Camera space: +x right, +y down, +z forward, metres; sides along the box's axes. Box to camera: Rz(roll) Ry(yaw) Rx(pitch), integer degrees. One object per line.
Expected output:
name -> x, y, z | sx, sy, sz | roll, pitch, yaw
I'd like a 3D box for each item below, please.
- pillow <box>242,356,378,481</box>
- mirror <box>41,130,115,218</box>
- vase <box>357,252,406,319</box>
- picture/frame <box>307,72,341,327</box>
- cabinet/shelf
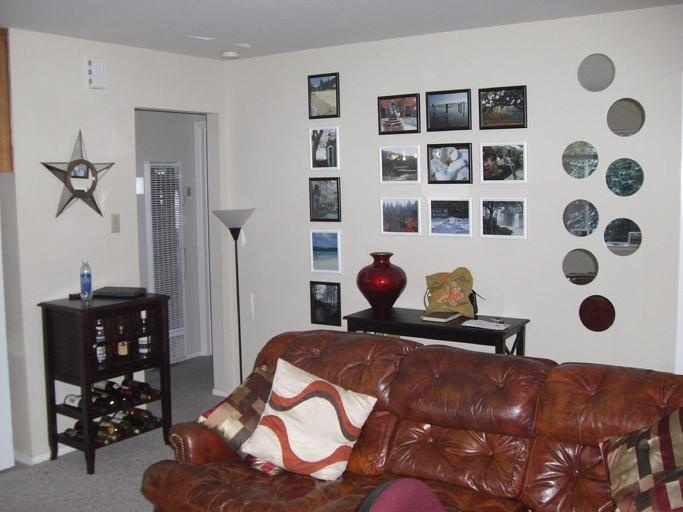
pillow -> -0.175, 0.862, 2.911 | 0.560, 0.523, 0.175 | 18, -17, 26
mirror -> -2.085, -0.639, 4.361 | 0.076, 0.736, 0.664 | 2, 4, 31
vase -> 0.264, 0.232, 4.427 | 0.417, 0.530, 0.454 | -1, -1, 0
picture/frame -> -0.151, -0.490, 4.981 | 0.319, 2.207, 0.056 | 1, 5, 24
cabinet/shelf -> -1.816, 0.878, 4.398 | 0.552, 1.164, 0.847 | 1, 4, 34
